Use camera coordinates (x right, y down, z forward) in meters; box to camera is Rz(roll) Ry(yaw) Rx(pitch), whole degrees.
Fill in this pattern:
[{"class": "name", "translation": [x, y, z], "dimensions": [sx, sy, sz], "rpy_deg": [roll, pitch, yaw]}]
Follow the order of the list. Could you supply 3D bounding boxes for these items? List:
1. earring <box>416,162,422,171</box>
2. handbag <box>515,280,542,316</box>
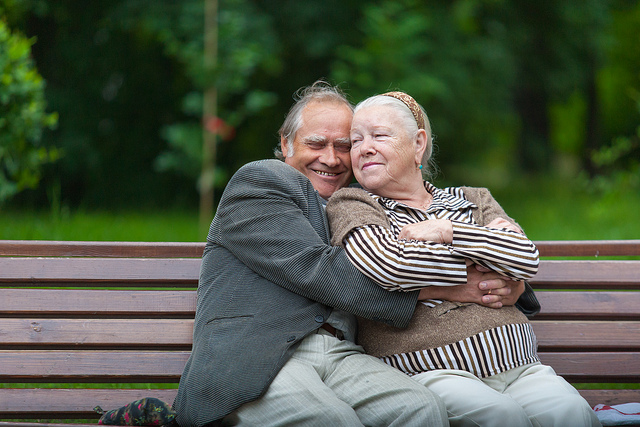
[{"class": "earring", "translation": [0.920, -0.440, 9.166], "dimensions": [0.055, 0.064, 0.038], "rpy_deg": [-11, -27, -15]}, {"class": "handbag", "translation": [1.916, 0.813, 9.147], "dimensions": [0.211, 0.109, 0.267], "rpy_deg": [-36, 30, -9]}]
